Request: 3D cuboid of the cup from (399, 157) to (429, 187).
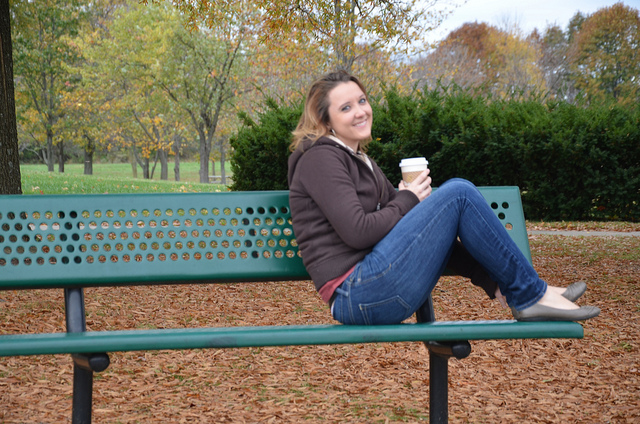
[{"bbox_3d":[0.761,-0.322,4.753,0.243,0.218,0.236,-4,3,0],"label":"cup"}]
